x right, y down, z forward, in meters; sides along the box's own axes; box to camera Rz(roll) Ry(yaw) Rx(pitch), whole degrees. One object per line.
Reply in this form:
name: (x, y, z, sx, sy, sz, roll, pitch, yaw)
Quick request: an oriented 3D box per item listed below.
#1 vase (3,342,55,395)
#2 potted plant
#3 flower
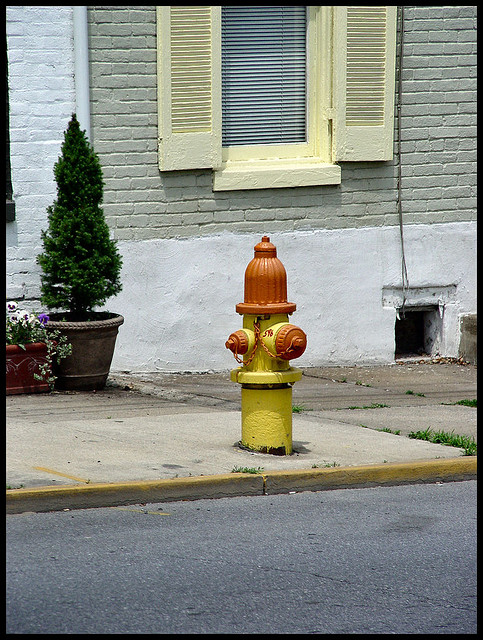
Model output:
vase: (-1.850, 0.419, 10.519, 0.414, 0.432, 0.482, 0, 2, -4)
potted plant: (-1.493, -0.585, 10.909, 0.681, 2.491, 0.715, 0, 3, 14)
flower: (-1.833, 0.245, 10.471, 0.803, 0.857, 0.636, 0, 2, -25)
